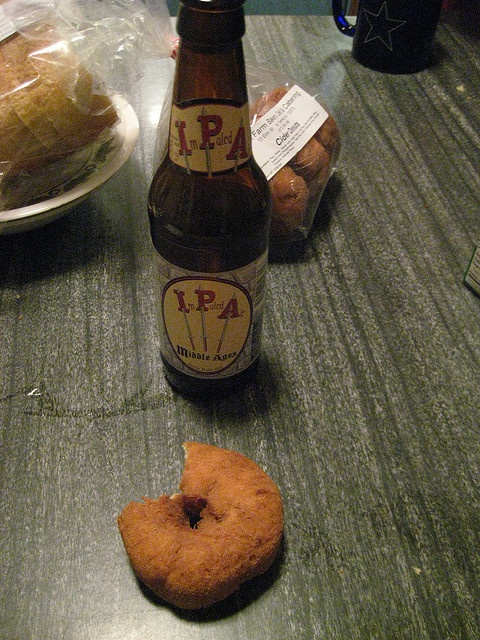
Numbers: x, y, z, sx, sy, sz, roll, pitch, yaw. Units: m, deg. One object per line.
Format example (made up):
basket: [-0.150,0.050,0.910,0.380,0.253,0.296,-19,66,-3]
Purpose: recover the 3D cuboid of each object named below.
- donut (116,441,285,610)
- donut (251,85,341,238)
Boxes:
donut: [-0.020,0.126,0.320,0.089,0.054,0.098,36,58,20]
donut: [0.049,-0.163,0.533,0.040,0.105,0.149,10,68,36]
